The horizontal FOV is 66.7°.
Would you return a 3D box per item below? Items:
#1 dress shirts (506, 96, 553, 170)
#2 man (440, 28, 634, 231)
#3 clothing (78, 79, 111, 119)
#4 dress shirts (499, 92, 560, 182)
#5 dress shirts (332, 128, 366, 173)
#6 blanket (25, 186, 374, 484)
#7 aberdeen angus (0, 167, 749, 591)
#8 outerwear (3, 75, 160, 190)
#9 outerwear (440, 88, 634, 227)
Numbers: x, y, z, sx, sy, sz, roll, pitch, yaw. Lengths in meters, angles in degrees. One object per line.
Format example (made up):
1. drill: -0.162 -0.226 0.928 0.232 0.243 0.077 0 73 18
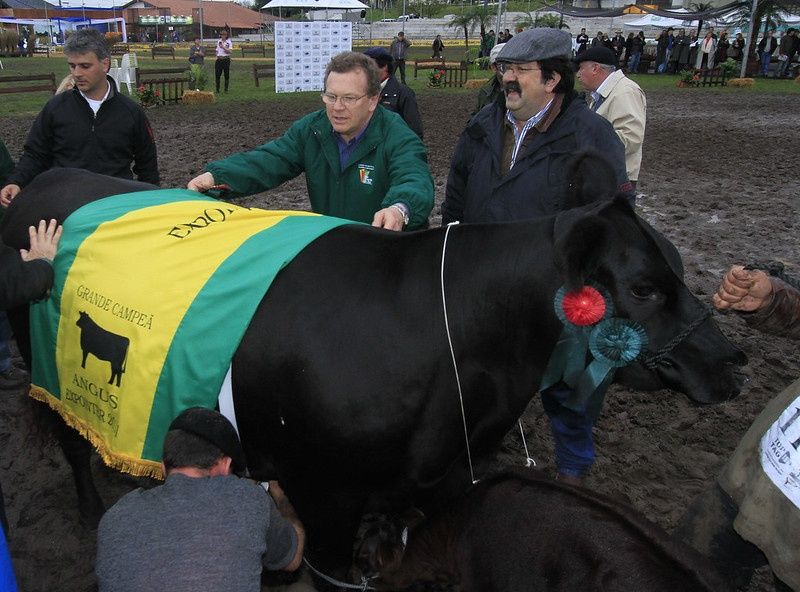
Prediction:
1. dress shirts: 0.658 -0.809 3.106 0.103 0.304 0.211 -1 10 -39
2. man: 0.701 -0.791 3.190 1.058 1.115 0.537 20 27 39
3. clothing: -2.088 -1.337 4.186 0.164 0.226 0.113 0 4 -9
4. dress shirts: 0.674 -0.821 3.185 0.259 0.362 0.194 32 16 28
5. dress shirts: -0.277 -0.772 3.245 0.139 0.206 0.146 5 15 6
6. blanket: -0.885 0.138 2.671 1.359 0.948 0.950 19 32 15
7. aberdeen angus: -0.200 0.341 2.379 2.461 1.625 0.832 11 39 14
8. outerwear: -2.212 -1.128 4.279 0.945 0.803 0.514 -3 38 -28
9. outerwear: 0.698 -0.647 3.227 1.005 0.863 0.465 20 24 32
